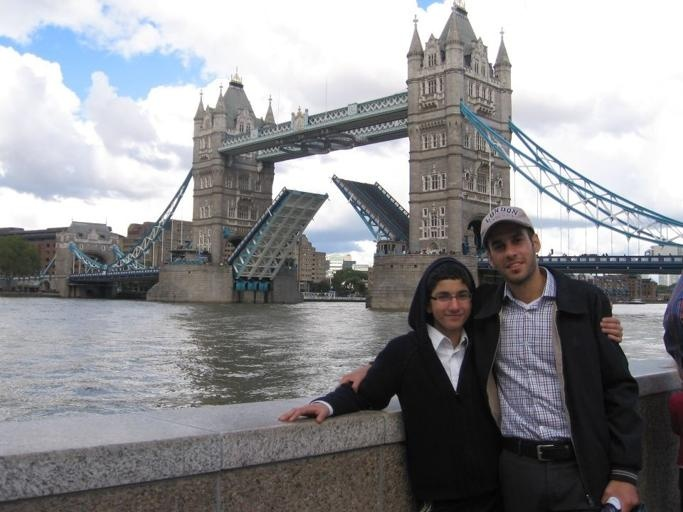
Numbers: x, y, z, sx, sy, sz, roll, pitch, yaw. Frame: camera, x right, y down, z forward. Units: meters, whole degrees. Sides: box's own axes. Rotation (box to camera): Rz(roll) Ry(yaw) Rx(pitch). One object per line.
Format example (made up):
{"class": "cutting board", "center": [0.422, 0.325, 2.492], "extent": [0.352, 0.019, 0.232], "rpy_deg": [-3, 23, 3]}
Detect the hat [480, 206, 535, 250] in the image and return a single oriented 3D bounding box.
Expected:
{"class": "hat", "center": [0.811, -0.171, 3.532], "extent": [0.238, 0.159, 0.310], "rpy_deg": [-9, -20, 10]}
